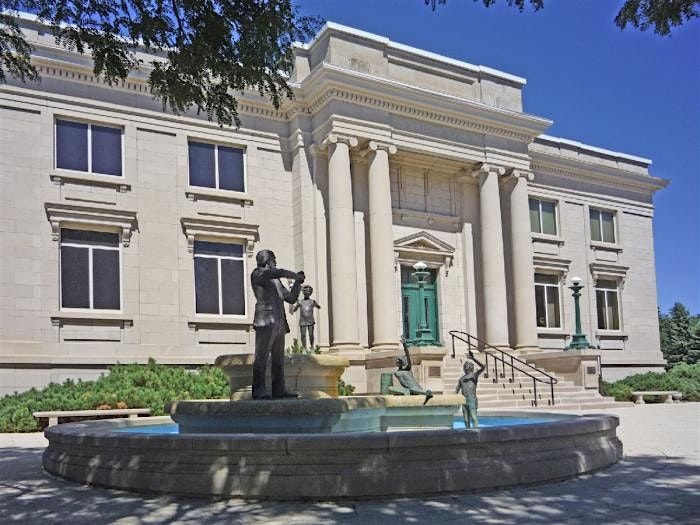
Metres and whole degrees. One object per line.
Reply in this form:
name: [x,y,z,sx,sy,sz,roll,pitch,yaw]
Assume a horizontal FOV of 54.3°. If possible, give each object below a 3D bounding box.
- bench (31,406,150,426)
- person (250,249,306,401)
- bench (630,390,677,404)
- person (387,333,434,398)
bench: [-7.143,4.221,18.748,2.969,0.522,1.069,1,1,-7]
person: [-1.316,1.093,12.110,1.002,2.640,0.904,6,-14,-29]
bench: [12.597,5.532,28.040,1.935,0.559,1.490,1,1,19]
person: [1.325,2.383,15.017,1.005,1.291,0.793,7,-18,-14]
